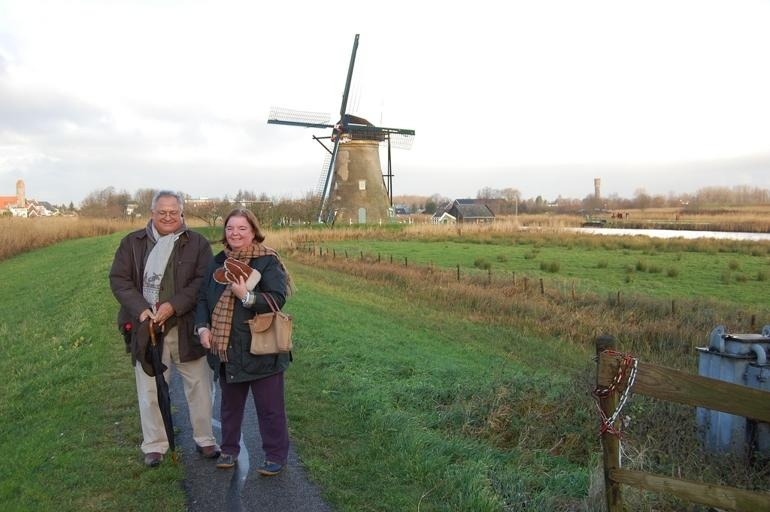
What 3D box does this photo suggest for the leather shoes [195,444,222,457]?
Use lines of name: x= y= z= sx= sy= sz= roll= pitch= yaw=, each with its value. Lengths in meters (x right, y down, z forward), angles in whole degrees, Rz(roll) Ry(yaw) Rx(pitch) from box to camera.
leather shoes: x=-2.521 y=2.726 z=7.532 sx=0.315 sy=0.153 sz=0.164 roll=-1 pitch=4 yaw=29

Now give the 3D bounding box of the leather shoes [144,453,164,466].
leather shoes: x=-3.174 y=2.780 z=7.283 sx=0.236 sy=0.143 sz=0.161 roll=0 pitch=9 yaw=-15

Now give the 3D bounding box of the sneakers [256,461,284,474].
sneakers: x=-1.560 y=2.873 z=7.189 sx=0.310 sy=0.109 sz=0.162 roll=16 pitch=-18 yaw=-39

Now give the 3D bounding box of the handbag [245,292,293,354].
handbag: x=-1.567 y=0.906 z=7.003 sx=0.705 sy=0.940 sz=0.405 roll=-2 pitch=-6 yaw=-7
